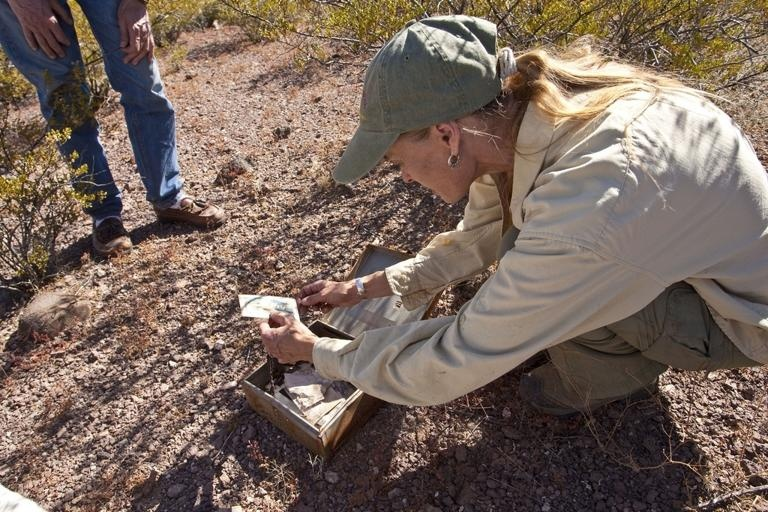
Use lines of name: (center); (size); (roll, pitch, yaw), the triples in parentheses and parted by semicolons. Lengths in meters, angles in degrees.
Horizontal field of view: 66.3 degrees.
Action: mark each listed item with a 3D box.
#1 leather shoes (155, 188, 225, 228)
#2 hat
leather shoes: (-1.634, -0.361, 5.019); (0.688, 0.282, 0.255); (4, 64, -6)
hat: (0.129, -0.831, 3.223); (0.908, 0.503, 0.575); (-37, 39, 7)
